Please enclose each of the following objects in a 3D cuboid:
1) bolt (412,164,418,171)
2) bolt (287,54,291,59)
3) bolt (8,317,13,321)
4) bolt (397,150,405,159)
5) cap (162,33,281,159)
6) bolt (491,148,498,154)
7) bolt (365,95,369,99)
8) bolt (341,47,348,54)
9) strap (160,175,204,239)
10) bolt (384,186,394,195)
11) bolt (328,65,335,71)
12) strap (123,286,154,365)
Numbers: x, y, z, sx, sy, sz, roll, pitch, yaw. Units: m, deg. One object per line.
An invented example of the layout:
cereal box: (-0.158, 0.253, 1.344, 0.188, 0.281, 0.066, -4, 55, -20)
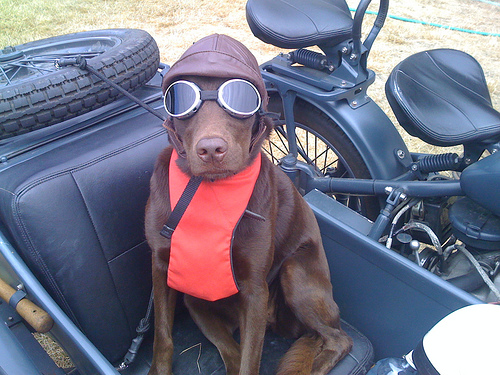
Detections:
bolt: (0.868, -0.104, 2.416, 0.027, 0.032, 0.009, 3, -5, 21)
bolt: (0.226, -0.769, 2.672, 0.016, 0.022, 0.023, 1, 3, -2)
bolt: (-0.877, 0.483, 1.677, 0.010, 0.006, 0.010, -28, -38, 33)
bolt: (0.799, -0.176, 2.424, 0.036, 0.042, 0.013, 10, -14, -22)
cap: (-0.084, -0.363, 1.712, 0.413, 0.422, 0.407, 3, 25, 8)
bolt: (1.135, -0.170, 2.134, 0.031, 0.009, 0.033, -11, 18, -21)
bolt: (0.642, -0.498, 2.517, 0.017, 0.005, 0.017, -27, 39, -33)
bolt: (0.494, -0.719, 2.395, 0.025, 0.039, 0.013, 2, 6, 29)
strap: (-0.257, 0.081, 1.608, 0.041, 0.025, 0.293, 27, 33, -8)
bolt: (0.658, 0.016, 2.152, 0.026, 0.027, 0.034, 7, -12, 3)
bolt: (0.438, -0.645, 2.471, 0.022, 0.026, 0.008, 14, 14, 39)
strap: (-0.455, 0.551, 1.847, 0.052, 0.347, 0.048, 13, -2, 23)
